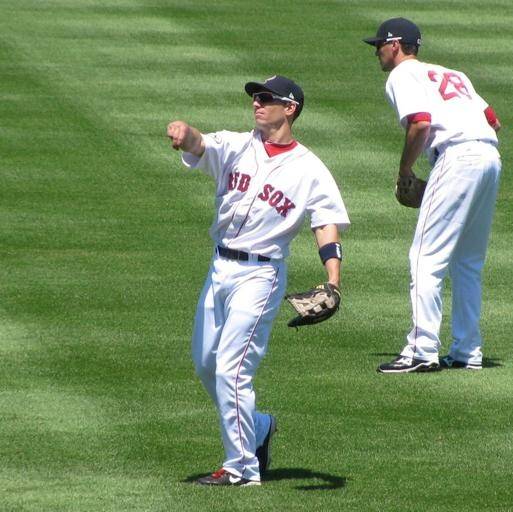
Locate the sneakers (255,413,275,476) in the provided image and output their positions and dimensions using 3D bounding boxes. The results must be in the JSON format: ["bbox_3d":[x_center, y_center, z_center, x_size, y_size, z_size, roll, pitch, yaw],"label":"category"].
[{"bbox_3d":[0.033,1.459,11.669,0.168,0.446,0.143,4,-1,-36],"label":"sneakers"}]

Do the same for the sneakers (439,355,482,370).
[{"bbox_3d":[1.765,0.940,13.200,0.368,0.169,0.139,0,0,11],"label":"sneakers"}]

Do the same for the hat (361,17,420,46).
[{"bbox_3d":[1.195,-1.951,13.207,0.378,0.234,0.272,9,8,12],"label":"hat"}]

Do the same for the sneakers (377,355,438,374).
[{"bbox_3d":[1.280,0.942,12.987,0.454,0.204,0.183,3,-2,5],"label":"sneakers"}]

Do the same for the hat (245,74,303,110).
[{"bbox_3d":[0.114,-1.287,11.793,0.364,0.199,0.263,19,0,-16],"label":"hat"}]

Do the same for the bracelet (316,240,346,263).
[{"bbox_3d":[0.563,-0.004,11.632,0.139,0.131,0.163,-17,-38,20],"label":"bracelet"}]
